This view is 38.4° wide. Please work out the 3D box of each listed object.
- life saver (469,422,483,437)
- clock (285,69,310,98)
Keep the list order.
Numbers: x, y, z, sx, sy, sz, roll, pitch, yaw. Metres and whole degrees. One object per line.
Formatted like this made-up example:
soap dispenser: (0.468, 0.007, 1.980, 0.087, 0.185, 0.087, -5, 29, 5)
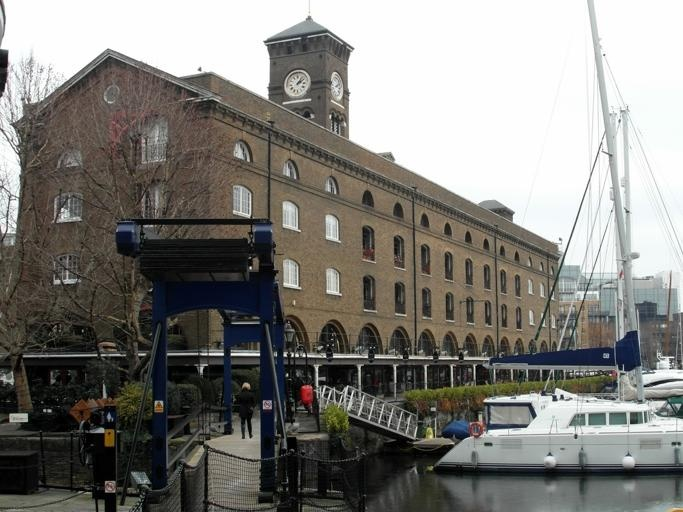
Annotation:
life saver: (5.988, 7.713, 43.691, 0.561, 0.672, 0.606, -2, -4, 4)
clock: (-3.793, -15.023, 85.973, 2.147, 2.516, 0.260, 7, -1, 20)
